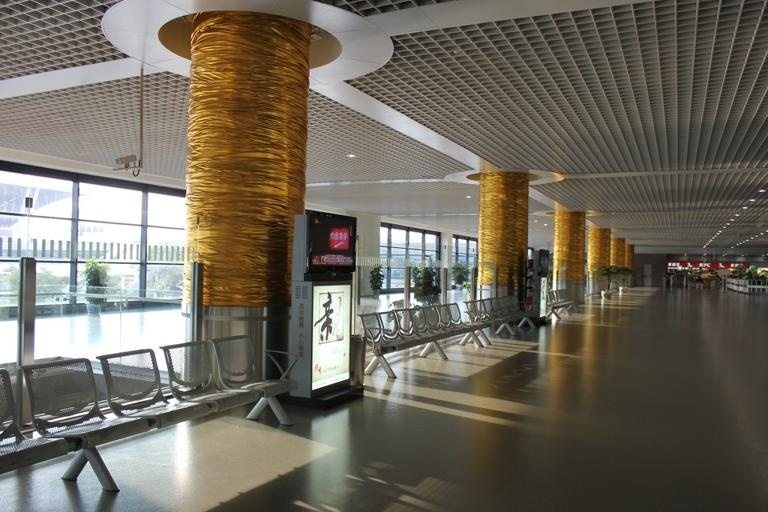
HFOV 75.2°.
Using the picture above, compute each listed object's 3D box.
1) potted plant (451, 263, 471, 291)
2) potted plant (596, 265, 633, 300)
[{"bbox_3d":[1.852,0.494,11.894,0.740,0.605,0.751,1,2,-7],"label":"potted plant"},{"bbox_3d":[14.858,1.724,32.318,2.601,2.084,2.618,-2,3,-28],"label":"potted plant"}]
